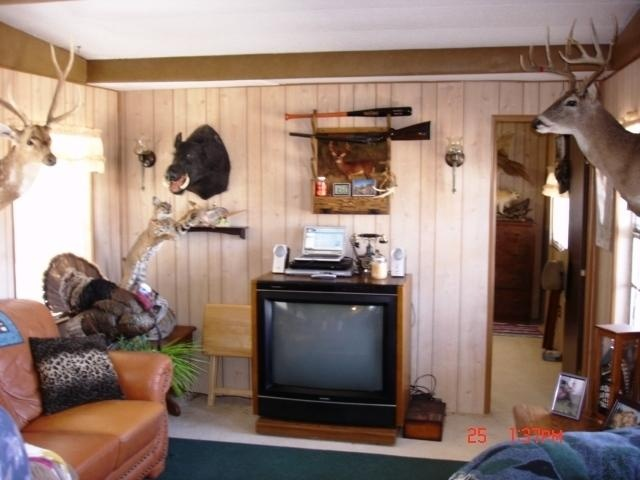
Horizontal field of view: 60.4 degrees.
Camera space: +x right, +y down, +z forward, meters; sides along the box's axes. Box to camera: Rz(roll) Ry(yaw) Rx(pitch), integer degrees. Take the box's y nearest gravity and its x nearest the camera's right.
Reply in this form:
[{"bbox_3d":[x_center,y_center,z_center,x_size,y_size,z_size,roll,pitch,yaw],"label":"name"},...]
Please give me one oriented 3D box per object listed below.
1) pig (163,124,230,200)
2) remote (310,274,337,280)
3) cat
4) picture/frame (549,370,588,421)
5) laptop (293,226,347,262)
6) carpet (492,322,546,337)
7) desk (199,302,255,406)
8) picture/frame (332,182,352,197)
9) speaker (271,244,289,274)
[{"bbox_3d":[-1.100,-0.667,4.873,0.550,0.697,0.538,-8,20,-22],"label":"pig"},{"bbox_3d":[0.028,0.284,4.218,0.193,0.034,0.077,0,9,-2],"label":"remote"},{"bbox_3d":[-1.337,-0.022,4.665,0.541,0.860,0.491,4,10,13],"label":"cat"},{"bbox_3d":[1.441,0.916,3.202,0.198,0.289,0.139,1,2,39],"label":"picture/frame"},{"bbox_3d":[-0.010,0.025,4.446,0.402,0.258,0.328,1,9,15],"label":"laptop"},{"bbox_3d":[2.412,1.098,6.741,0.569,0.023,0.596,3,10,17],"label":"carpet"},{"bbox_3d":[-0.803,0.955,4.863,0.531,0.846,0.529,0,2,5],"label":"desk"},{"bbox_3d":[0.176,-0.425,4.661,0.182,0.133,0.099,0,-3,12],"label":"picture/frame"},{"bbox_3d":[-0.327,0.154,4.507,0.121,0.215,0.191,1,9,6],"label":"speaker"}]
